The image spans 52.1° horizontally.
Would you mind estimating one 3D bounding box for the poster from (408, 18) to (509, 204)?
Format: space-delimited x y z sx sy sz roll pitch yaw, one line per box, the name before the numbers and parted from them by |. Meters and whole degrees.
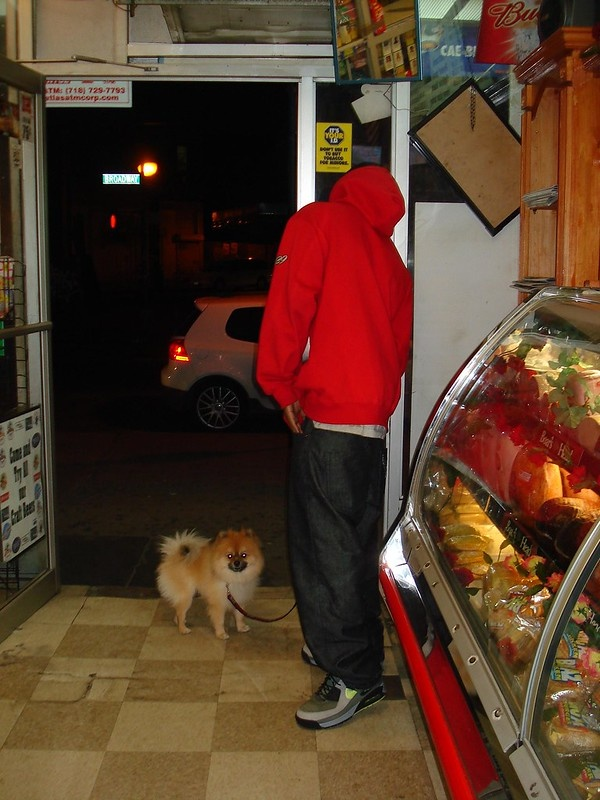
poster | 0.762 -1.386 2.861 0.462 0.882 0.138 3 5 14
